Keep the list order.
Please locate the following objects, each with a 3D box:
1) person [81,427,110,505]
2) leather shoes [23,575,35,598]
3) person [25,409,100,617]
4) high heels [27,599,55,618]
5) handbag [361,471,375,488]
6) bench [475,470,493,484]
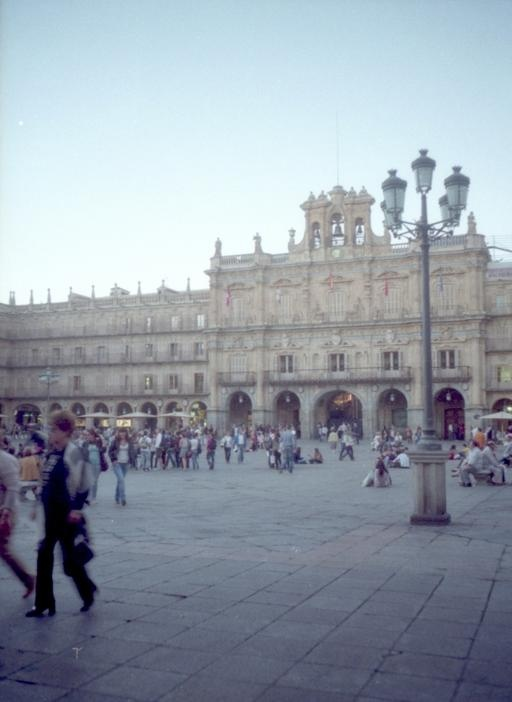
[{"bbox_3d":[-2.704,1.904,15.976,0.587,1.342,0.618,3,2,-17],"label":"person"},{"bbox_3d":[-1.846,1.955,7.937,0.041,0.192,0.134,5,-6,-6],"label":"leather shoes"},{"bbox_3d":[-1.554,1.282,7.707,0.522,1.574,0.471,-1,-3,-11],"label":"person"},{"bbox_3d":[-1.650,2.007,7.485,0.180,0.090,0.101,9,-18,-7],"label":"high heels"},{"bbox_3d":[2.169,2.555,18.932,0.202,0.454,0.281,7,-15,-11],"label":"handbag"},{"bbox_3d":[4.362,2.482,18.682,0.262,0.225,0.227,-1,-14,6],"label":"bench"}]
